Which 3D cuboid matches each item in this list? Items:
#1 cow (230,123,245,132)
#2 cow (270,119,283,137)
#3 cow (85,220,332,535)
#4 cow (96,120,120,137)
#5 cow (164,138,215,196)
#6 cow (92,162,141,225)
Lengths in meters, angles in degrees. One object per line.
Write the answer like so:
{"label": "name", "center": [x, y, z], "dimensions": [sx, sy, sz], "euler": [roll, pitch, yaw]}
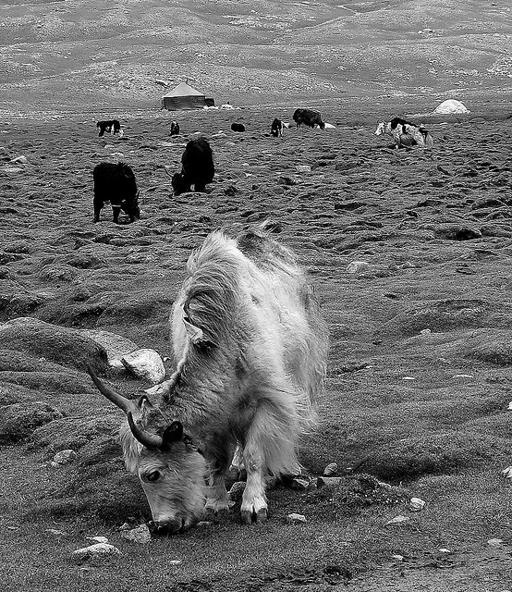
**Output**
{"label": "cow", "center": [-0.637, -6.105, 35.984], "dimensions": [0.361, 0.268, 0.555], "euler": [1, 3, -7]}
{"label": "cow", "center": [0.740, -5.735, 34.197], "dimensions": [0.351, 0.484, 1.006], "euler": [-1, -2, 1]}
{"label": "cow", "center": [-0.247, 0.531, 6.258], "dimensions": [0.965, 1.691, 2.565], "euler": [-3, 15, 21]}
{"label": "cow", "center": [-5.247, -6.023, 35.488], "dimensions": [0.832, 0.521, 1.878], "euler": [0, 11, -8]}
{"label": "cow", "center": [-1.223, -2.884, 21.522], "dimensions": [0.602, 1.172, 1.649], "euler": [7, 13, 9]}
{"label": "cow", "center": [-2.549, -1.974, 17.853], "dimensions": [0.589, 1.330, 1.792], "euler": [4, -5, -16]}
